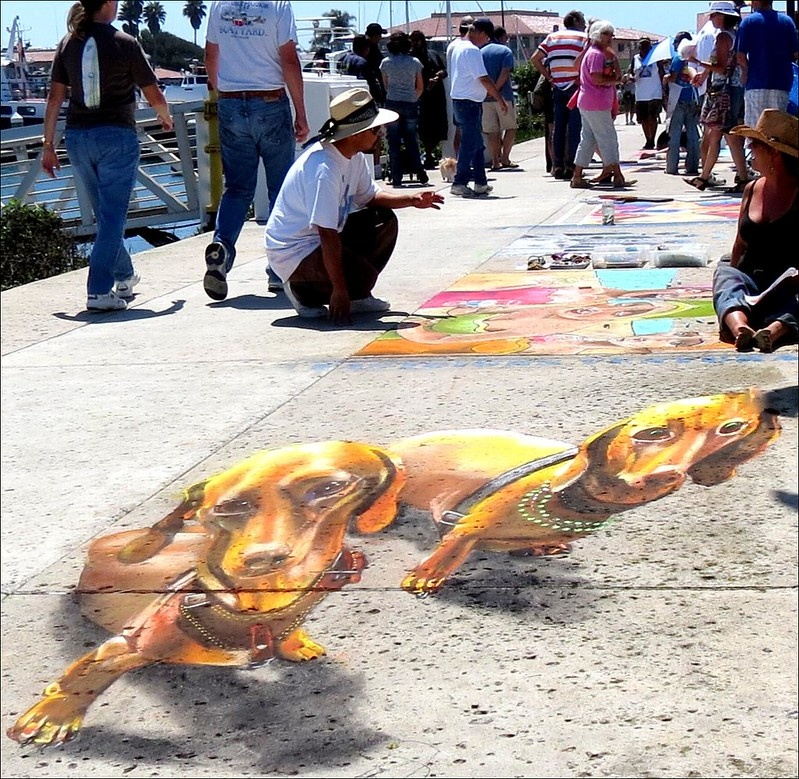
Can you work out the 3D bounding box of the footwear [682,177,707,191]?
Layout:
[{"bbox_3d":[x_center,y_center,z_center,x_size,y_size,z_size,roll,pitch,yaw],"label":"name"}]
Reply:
[{"bbox_3d":[3.318,-2.348,11.195,0.182,0.105,0.290,2,28,-31],"label":"footwear"}]

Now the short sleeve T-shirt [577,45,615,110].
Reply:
[{"bbox_3d":[2.247,-3.588,11.319,0.410,0.734,0.458,3,13,9],"label":"short sleeve T-shirt"}]

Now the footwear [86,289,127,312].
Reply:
[{"bbox_3d":[-1.968,-0.600,6.667,0.362,0.118,0.098,-3,34,-9],"label":"footwear"}]

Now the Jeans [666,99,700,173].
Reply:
[{"bbox_3d":[3.650,-3.225,12.804,0.402,0.878,0.877,4,12,14],"label":"Jeans"}]

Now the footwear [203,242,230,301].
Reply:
[{"bbox_3d":[-1.217,-0.807,6.709,0.209,0.354,0.195,-6,-8,1],"label":"footwear"}]

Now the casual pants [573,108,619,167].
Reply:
[{"bbox_3d":[2.356,-3.007,11.898,0.489,0.635,0.682,2,12,7],"label":"casual pants"}]

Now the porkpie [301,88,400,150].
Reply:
[{"bbox_3d":[-0.241,-1.579,5.685,0.454,0.329,0.318,-3,12,-18],"label":"porkpie"}]
